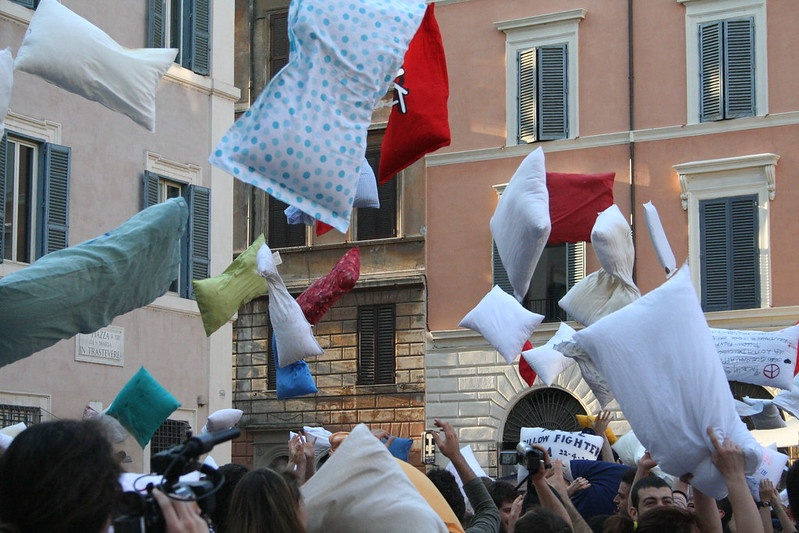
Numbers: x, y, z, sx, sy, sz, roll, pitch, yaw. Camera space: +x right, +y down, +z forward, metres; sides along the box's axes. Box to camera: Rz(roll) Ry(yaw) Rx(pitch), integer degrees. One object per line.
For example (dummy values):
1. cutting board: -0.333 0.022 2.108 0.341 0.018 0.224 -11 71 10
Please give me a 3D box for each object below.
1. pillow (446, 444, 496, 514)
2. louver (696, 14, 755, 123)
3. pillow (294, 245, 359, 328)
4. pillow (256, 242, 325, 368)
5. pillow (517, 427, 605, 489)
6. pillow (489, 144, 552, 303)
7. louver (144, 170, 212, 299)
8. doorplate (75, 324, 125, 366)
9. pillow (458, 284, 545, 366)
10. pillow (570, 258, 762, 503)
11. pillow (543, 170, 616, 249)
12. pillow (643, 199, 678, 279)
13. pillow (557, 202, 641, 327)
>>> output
1. pillow: 0.950 2.866 22.682 0.326 0.852 0.828 -33 -3 12
2. louver: 6.524 -3.876 34.374 1.179 2.010 0.241 -5 -12 22
3. pillow: -0.957 0.304 24.208 1.075 0.363 0.946 -40 19 19
4. pillow: -1.509 0.470 23.421 0.851 1.720 1.039 0 -11 -3
5. pillow: 2.112 2.502 22.557 1.165 0.680 0.312 7 -23 12
6. pillow: 1.602 -0.547 21.909 0.386 1.838 0.928 6 -13 -28
7. louver: -3.293 -0.422 25.473 0.194 2.087 1.890 -9 -19 31
8. doorplate: -4.746 1.268 27.167 0.095 0.614 0.923 -6 -9 40
9. pillow: 1.511 0.859 25.115 1.262 1.084 0.367 37 -10 29
10. pillow: 3.016 1.336 19.358 2.200 2.393 0.896 -35 -10 12
11. pillow: 2.447 -0.761 24.086 1.064 0.917 0.301 0 -7 -2
12. pillow: 3.482 -0.326 22.949 0.150 0.969 0.302 -20 0 44
13. pillow: 2.932 -0.034 24.883 1.172 1.976 1.718 6 33 17
